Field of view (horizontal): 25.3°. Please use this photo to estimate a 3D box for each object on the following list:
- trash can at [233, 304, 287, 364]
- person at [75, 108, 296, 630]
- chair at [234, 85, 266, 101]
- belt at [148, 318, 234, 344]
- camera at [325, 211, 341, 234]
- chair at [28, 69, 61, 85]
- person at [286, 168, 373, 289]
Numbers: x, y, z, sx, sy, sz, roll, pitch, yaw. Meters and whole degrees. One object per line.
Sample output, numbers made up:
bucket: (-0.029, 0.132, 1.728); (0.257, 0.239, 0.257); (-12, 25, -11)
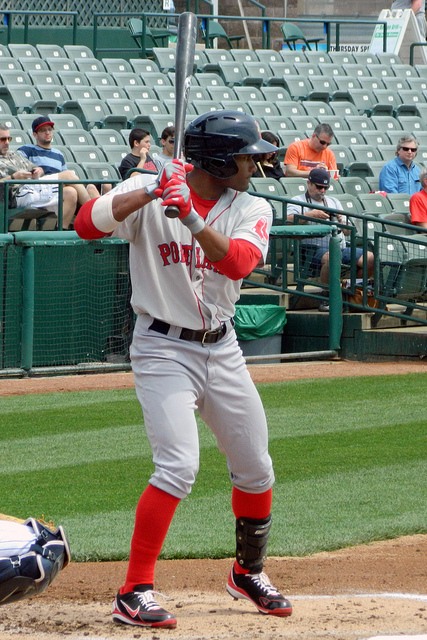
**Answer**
trash can: (0.361, 0.138, 9.286); (0.563, 0.664, 0.561); (-1, 1, -18)
person: (-0.067, 0.168, 3.075); (0.682, 1.700, 0.583); (-1, 7, -4)
chair: (0.566, -3.556, 14.793); (0.353, 0.396, 0.312); (5, 16, -10)
belt: (-0.049, 0.033, 3.092); (0.308, 0.088, 0.114); (-4, 7, -33)
camera: (1.205, -0.982, 9.507); (0.157, 0.222, 0.455); (1, 6, 14)
chair: (-2.414, -3.479, 13.571); (0.504, 0.255, 0.353); (-4, 8, -34)
person: (1.139, -0.903, 9.393); (0.825, 1.176, 1.119); (-1, 6, -5)
